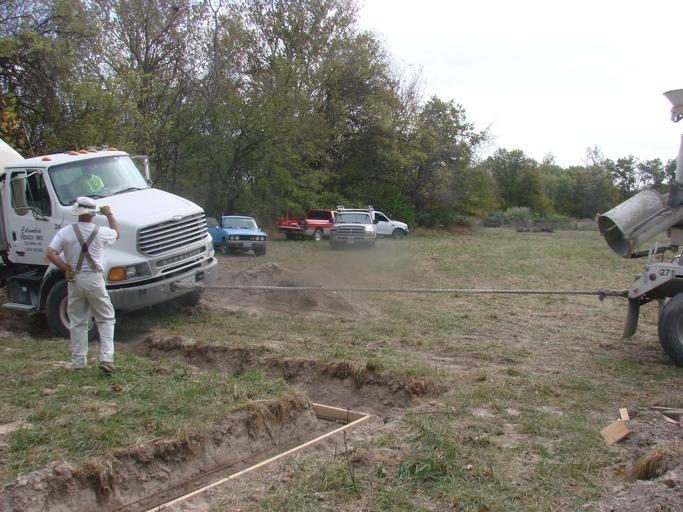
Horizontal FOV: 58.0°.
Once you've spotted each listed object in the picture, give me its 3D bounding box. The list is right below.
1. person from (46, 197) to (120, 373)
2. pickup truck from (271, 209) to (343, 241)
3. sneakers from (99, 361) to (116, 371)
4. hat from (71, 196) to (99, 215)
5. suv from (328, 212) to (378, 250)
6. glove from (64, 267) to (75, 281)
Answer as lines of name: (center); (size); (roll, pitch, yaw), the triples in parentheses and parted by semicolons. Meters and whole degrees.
person: (-3.988, 0.444, 9.509); (0.914, 2.615, 0.909); (-2, 12, -4)
pickup truck: (-1.720, -1.588, 32.107); (1.521, 1.116, 2.889); (6, 11, 37)
sneakers: (-3.568, 1.687, 9.388); (0.215, 0.176, 0.134); (-6, 12, -21)
hat: (-3.965, -0.754, 9.692); (0.490, 0.270, 0.417); (-4, 12, -41)
suv: (0.500, -1.086, 27.406); (1.846, 1.510, 3.504); (0, 3, 3)
glove: (-4.188, 0.289, 9.516); (0.156, 0.183, 0.190); (3, -9, -10)
